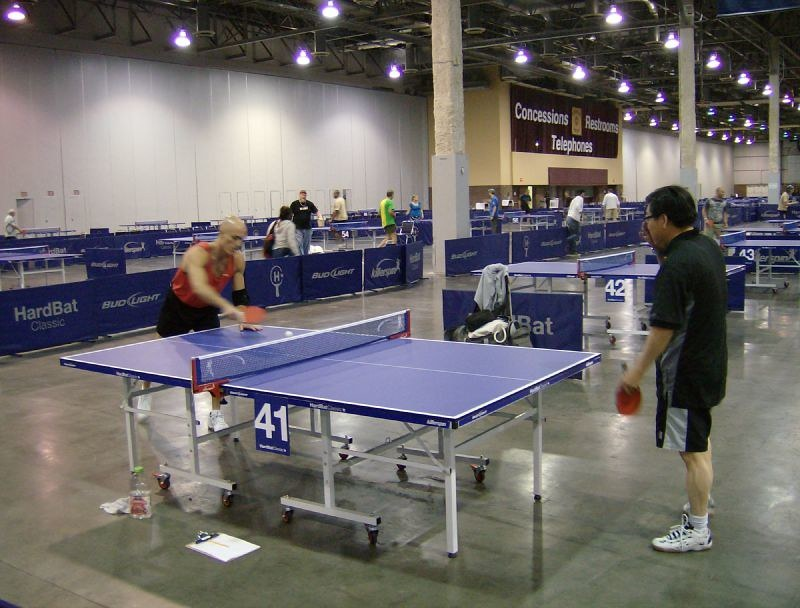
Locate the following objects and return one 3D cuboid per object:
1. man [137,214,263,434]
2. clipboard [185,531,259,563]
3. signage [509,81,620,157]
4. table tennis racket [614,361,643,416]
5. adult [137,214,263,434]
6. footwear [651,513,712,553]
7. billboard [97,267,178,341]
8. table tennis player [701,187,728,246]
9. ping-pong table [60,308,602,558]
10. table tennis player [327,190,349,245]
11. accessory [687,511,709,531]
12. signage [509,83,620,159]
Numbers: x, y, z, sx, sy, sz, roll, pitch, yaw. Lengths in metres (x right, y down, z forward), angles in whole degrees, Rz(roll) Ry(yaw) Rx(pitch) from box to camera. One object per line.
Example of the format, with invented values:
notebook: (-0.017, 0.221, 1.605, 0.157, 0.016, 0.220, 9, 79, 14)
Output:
man: (-1.726, 0.187, 5.980, 1.216, 1.909, 0.754, 8, 6, 18)
clipboard: (-1.151, 1.547, 4.355, 0.454, 0.040, 0.258, 5, 12, 31)
signage: (11.038, -10.612, 41.919, 0.309, 3.509, 11.305, 4, 9, 44)
table tennis racket: (1.296, 0.552, 3.846, 0.120, 0.246, 0.303, 1, 10, 17)
adult: (-1.741, 0.168, 5.989, 1.248, 1.903, 0.704, 10, 7, 23)
footwear: (1.736, 1.421, 4.266, 0.453, 0.295, 0.164, 1, -1, 8)
billboard: (-4.396, -0.061, 11.142, 2.152, 1.020, 0.035, -5, -6, 36)
table tennis player: (7.123, -1.895, 15.270, 0.500, 1.427, 0.329, -2, 18, 5)
ping-pong table: (-0.442, 0.824, 5.097, 3.337, 1.242, 2.128, 5, 12, 33)
table tennis player: (-2.257, -3.082, 23.742, 0.611, 1.904, 0.661, 11, 22, 24)
accessory: (1.835, 1.332, 4.185, 0.095, 0.106, 0.117, -1, 3, -21)
signage: (10.699, -10.575, 41.503, 10.625, 3.308, 0.278, -7, 9, -43)
